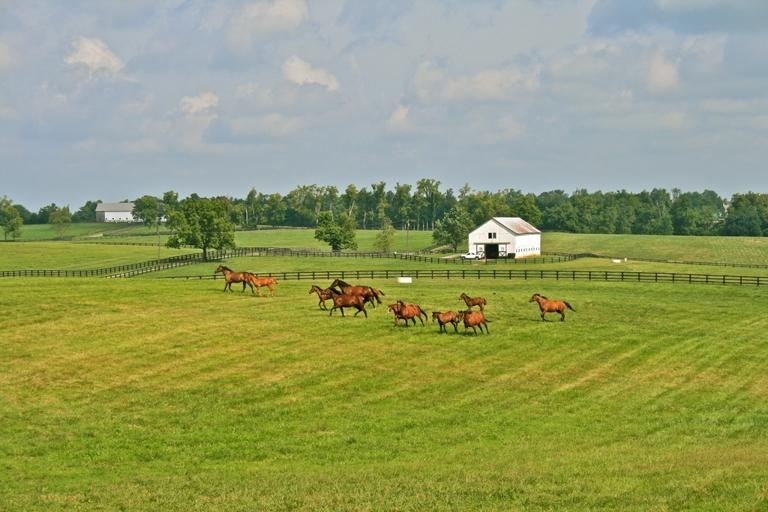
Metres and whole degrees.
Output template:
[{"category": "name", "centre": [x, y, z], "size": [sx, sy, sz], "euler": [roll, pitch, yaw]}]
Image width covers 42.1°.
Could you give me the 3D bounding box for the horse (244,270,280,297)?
[{"category": "horse", "centre": [-10.116, 2.297, 81.310], "size": [2.184, 1.933, 4.012], "euler": [1, 11, -3]}]

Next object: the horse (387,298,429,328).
[{"category": "horse", "centre": [1.782, 4.118, 71.748], "size": [2.521, 1.894, 2.853], "euler": [4, 11, 9]}]

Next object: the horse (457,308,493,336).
[{"category": "horse", "centre": [6.470, 4.617, 70.378], "size": [2.007, 1.721, 2.417], "euler": [5, 12, 15]}]

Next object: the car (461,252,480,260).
[{"category": "car", "centre": [11.567, 0.120, 133.774], "size": [2.197, 0.625, 1.115], "euler": [2, -1, 2]}]
